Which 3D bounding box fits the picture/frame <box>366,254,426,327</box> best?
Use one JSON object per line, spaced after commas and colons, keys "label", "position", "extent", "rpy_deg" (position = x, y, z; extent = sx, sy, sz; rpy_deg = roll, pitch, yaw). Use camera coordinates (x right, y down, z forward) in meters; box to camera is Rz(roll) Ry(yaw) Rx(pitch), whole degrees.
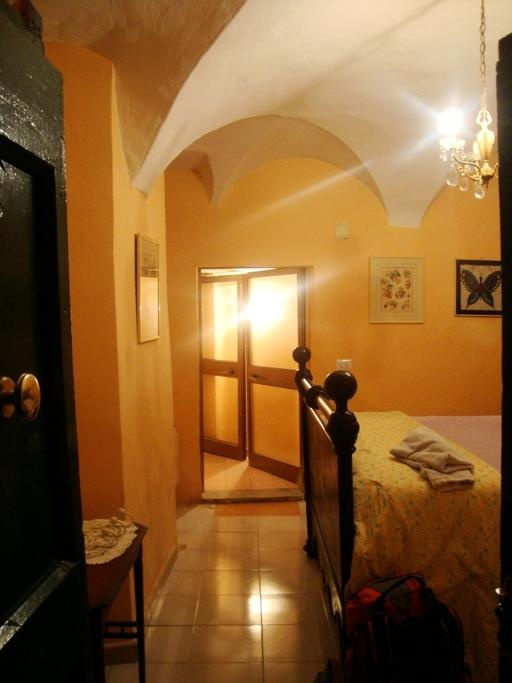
{"label": "picture/frame", "position": [1.093, -0.433, 4.156], "extent": [0.443, 0.682, 0.022], "rpy_deg": [-1, 7, -1]}

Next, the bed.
{"label": "bed", "position": [0.532, 0.584, 2.095], "extent": [0.834, 0.794, 0.936], "rpy_deg": [-1, 4, -7]}
